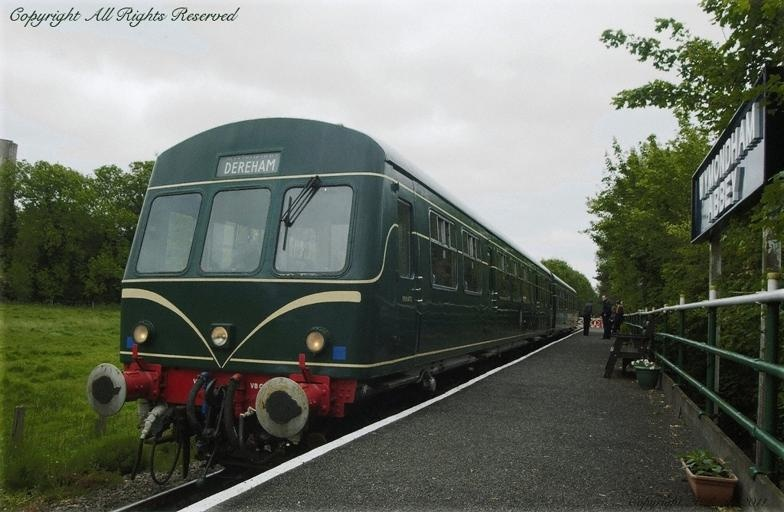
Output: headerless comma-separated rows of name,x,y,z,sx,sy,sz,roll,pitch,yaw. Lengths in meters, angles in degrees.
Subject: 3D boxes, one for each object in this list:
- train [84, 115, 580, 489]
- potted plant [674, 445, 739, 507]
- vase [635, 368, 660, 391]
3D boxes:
train,-0.807,0.486,9.870,3.472,5.090,7.666,-6,-4,34
potted plant,3.402,2.380,5.800,0.303,0.273,0.677,-2,-14,12
vase,5.276,2.527,11.124,0.385,0.310,0.407,0,-12,4
